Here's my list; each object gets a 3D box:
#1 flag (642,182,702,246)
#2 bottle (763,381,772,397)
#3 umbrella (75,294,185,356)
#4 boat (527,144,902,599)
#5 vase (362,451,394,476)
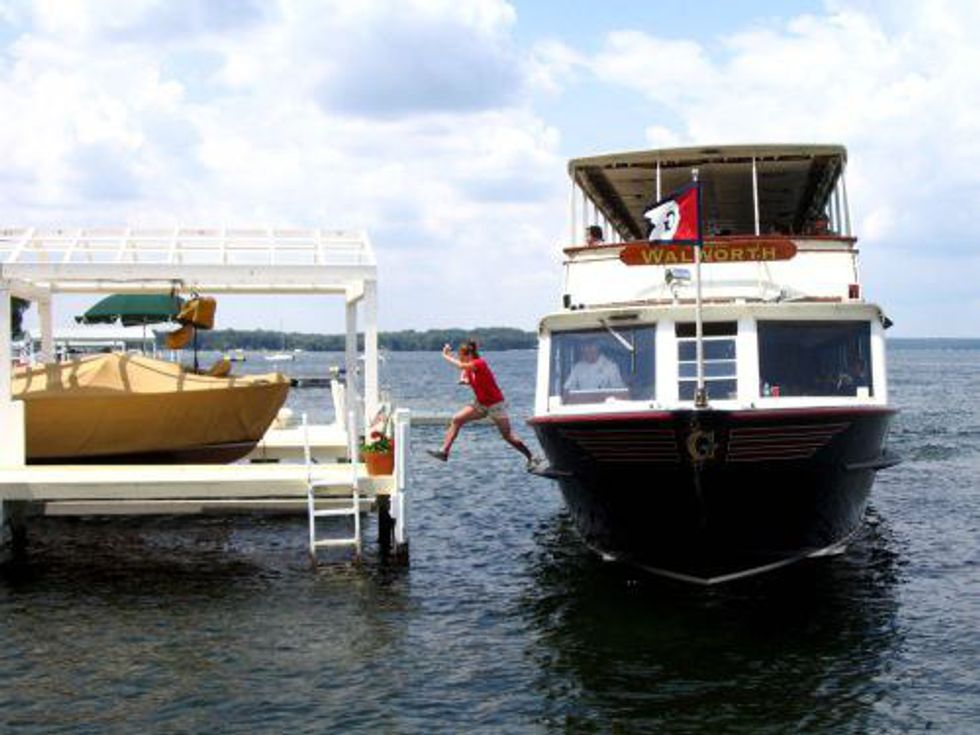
[{"bbox_3d":[2.320,-1.882,16.993,0.847,0.769,0.369,-2,-2,32],"label":"flag"},{"bbox_3d":[3.560,0.286,17.394,0.127,0.173,0.045,-1,-2,-23],"label":"bottle"},{"bbox_3d":[-7.317,-0.919,27.502,1.894,1.097,3.545,-1,-2,-20],"label":"umbrella"},{"bbox_3d":[3.108,-0.174,18.614,4.252,6.012,4.413,-2,-2,10],"label":"boat"},{"bbox_3d":[-1.607,1.351,18.993,0.411,0.200,0.401,-2,-2,36],"label":"vase"}]
